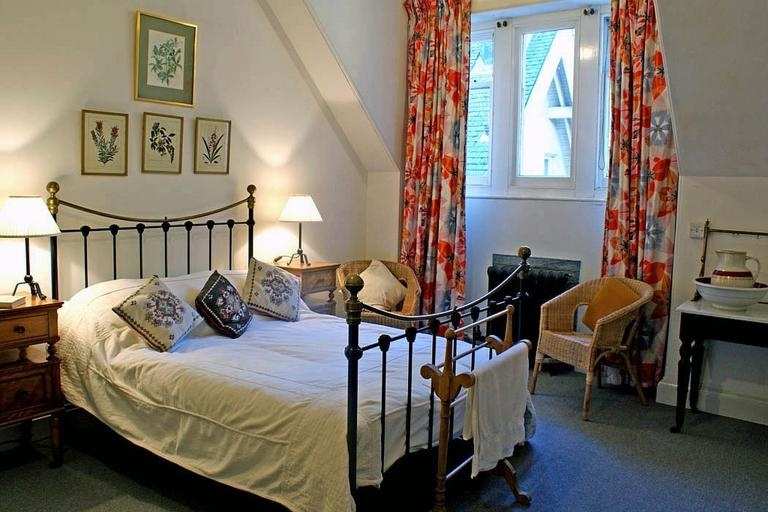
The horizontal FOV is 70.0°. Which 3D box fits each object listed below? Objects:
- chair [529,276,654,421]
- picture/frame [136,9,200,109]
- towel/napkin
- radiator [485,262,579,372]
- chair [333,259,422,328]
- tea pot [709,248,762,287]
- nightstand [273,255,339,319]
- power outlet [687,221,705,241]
[{"bbox_3d":[1.717,0.637,5.009,1.033,1.453,1.050,-1,5,-31],"label":"chair"},{"bbox_3d":[-1.721,-1.542,4.315,0.538,0.667,0.073,-12,19,-42],"label":"picture/frame"},{"bbox_3d":[0.682,0.908,3.249,0.235,0.689,0.844,6,8,35],"label":"towel/napkin"},{"bbox_3d":[1.289,0.518,4.576,0.927,1.174,0.151,3,-1,31],"label":"radiator"},{"bbox_3d":[-0.072,0.305,5.295,0.694,0.879,0.634,4,-9,-6],"label":"chair"},{"bbox_3d":[2.696,0.081,4.199,0.323,0.351,0.283,1,-1,25],"label":"tea pot"},{"bbox_3d":[-0.624,0.287,5.210,0.547,0.695,0.477,9,12,41],"label":"nightstand"},{"bbox_3d":[2.537,-0.213,4.429,0.110,0.124,0.115,-3,8,3],"label":"power outlet"}]
